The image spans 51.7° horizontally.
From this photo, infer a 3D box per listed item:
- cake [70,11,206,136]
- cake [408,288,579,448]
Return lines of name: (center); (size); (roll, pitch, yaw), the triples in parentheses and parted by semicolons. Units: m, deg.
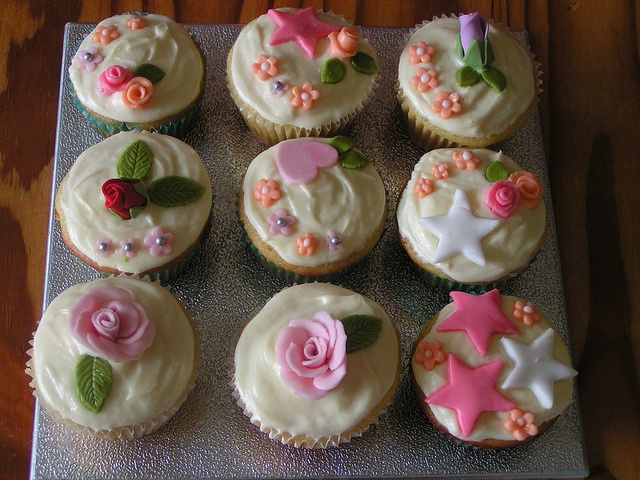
cake: (-0.989, -0.904, 3.583); (0.683, 0.297, 0.671); (-15, 75, -2)
cake: (0.823, 0.615, 3.142); (0.743, 0.184, 0.750); (42, 80, 11)
